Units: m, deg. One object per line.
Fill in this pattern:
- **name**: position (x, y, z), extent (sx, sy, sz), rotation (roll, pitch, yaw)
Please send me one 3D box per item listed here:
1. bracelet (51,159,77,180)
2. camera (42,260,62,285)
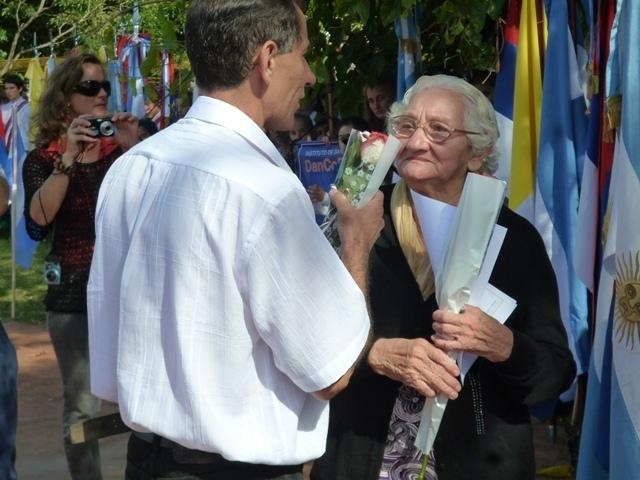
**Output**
- **bracelet**: position (-1.583, -0.439, 5.896), extent (0.096, 0.038, 0.111), rotation (29, 58, 16)
- **camera**: position (-1.688, 0.207, 5.982), extent (0.158, 0.156, 0.053), rotation (4, 5, 28)
